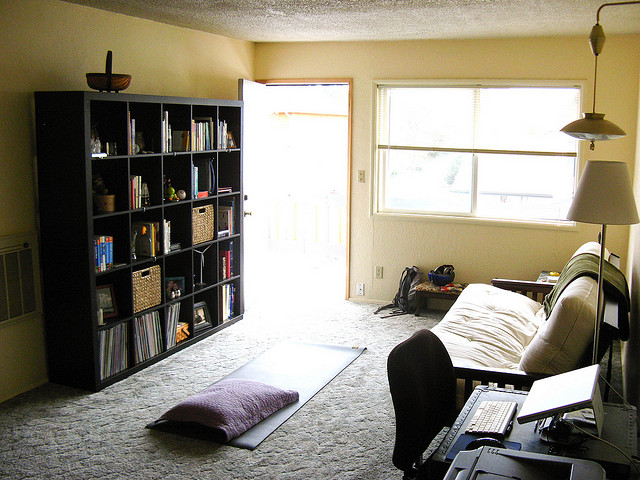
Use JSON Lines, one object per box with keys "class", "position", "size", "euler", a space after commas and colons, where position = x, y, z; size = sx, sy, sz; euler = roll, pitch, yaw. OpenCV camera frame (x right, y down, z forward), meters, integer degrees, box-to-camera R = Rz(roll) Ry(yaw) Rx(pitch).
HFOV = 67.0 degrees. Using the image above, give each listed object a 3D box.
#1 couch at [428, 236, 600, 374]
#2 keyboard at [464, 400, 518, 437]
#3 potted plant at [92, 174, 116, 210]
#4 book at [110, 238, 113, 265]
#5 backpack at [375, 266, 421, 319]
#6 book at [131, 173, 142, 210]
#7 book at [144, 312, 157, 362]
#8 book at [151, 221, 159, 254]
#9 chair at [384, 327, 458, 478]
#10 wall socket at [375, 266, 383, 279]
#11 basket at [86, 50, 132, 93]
{"class": "couch", "position": [1.541, 0.612, 3.937], "size": [1.245, 0.770, 1.852], "euler": [6, 10, 28]}
{"class": "keyboard", "position": [0.799, 0.822, 2.243], "size": [0.173, 0.030, 0.327], "euler": [-6, 4, 31]}
{"class": "potted plant", "position": [-1.741, -0.377, 3.909], "size": [0.168, 0.281, 0.160], "euler": [-4, 13, -23]}
{"class": "book", "position": [-1.695, 0.089, 3.938], "size": [0.015, 0.221, 0.062], "euler": [-3, 13, -18]}
{"class": "backpack", "position": [0.957, 0.592, 5.834], "size": [0.523, 0.589, 0.398], "euler": [2, 6, 0]}
{"class": "book", "position": [-1.558, -0.410, 4.125], "size": [0.084, 0.269, 0.241], "euler": [-3, 13, -19]}
{"class": "book", "position": [-1.494, 0.858, 4.281], "size": [0.040, 0.424, 0.112], "euler": [7, 14, 26]}
{"class": "book", "position": [-1.458, -0.019, 4.343], "size": [0.035, 0.282, 0.051], "euler": [2, 12, 4]}
{"class": "chair", "position": [0.513, 0.847, 2.480], "size": [0.239, 0.722, 0.499], "euler": [8, 14, 31]}
{"class": "wall socket", "position": [0.730, 0.395, 5.993], "size": [0.095, 0.147, 0.025], "euler": [2, 13, 7]}
{"class": "basket", "position": [-1.684, -1.332, 3.854], "size": [0.323, 0.303, 0.190], "euler": [-5, 14, -23]}
